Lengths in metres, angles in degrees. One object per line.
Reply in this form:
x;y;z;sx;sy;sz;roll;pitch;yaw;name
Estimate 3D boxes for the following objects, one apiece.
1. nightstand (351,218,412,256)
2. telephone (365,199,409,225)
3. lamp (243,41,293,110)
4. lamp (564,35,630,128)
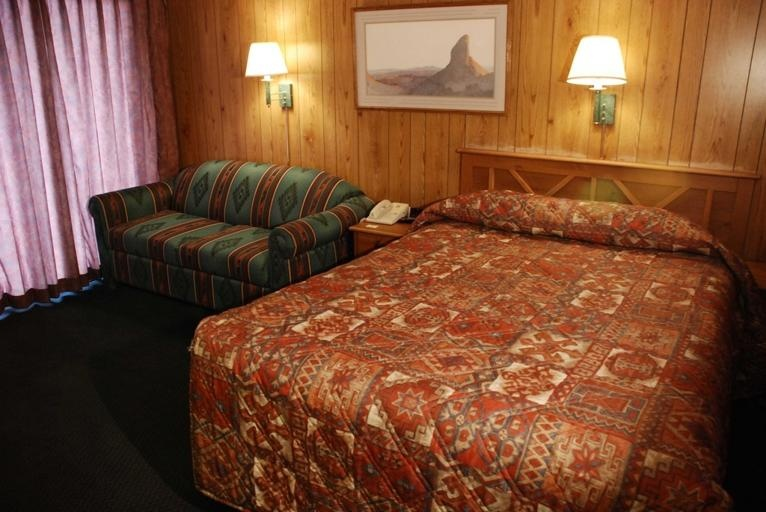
0.012;-0.084;4.826;0.498;0.452;0.358;11;31;15;nightstand
0.033;-0.393;4.783;0.235;0.102;0.319;11;31;28;telephone
-1.119;-1.770;5.135;0.418;0.629;0.514;-4;21;-8;lamp
1.613;-1.298;3.899;0.414;0.601;0.410;-8;15;-41;lamp
